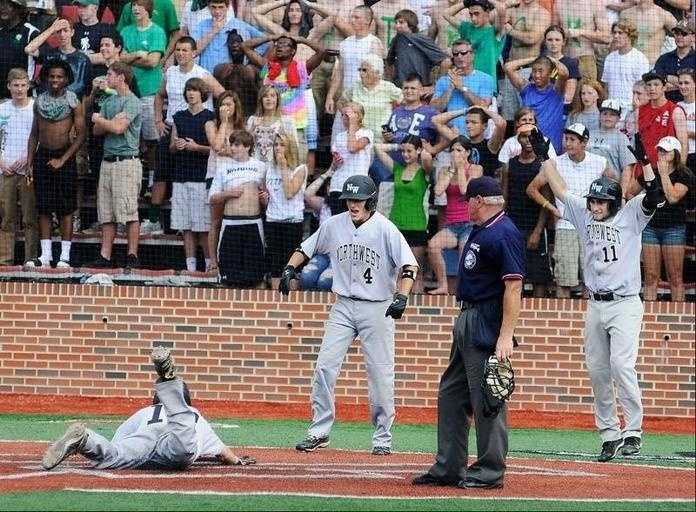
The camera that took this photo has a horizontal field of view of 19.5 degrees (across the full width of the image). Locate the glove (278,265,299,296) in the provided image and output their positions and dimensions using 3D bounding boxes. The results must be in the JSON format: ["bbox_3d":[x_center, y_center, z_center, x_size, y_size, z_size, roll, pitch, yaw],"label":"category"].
[{"bbox_3d":[-0.745,0.264,23.588,0.267,0.376,0.102,9,4,-27],"label":"glove"}]

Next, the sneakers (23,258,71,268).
[{"bbox_3d":[-3.885,0.122,26.002,0.570,0.191,0.216,3,-6,-3],"label":"sneakers"}]

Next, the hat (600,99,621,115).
[{"bbox_3d":[3.319,-1.881,25.613,0.256,0.211,0.299,1,-5,4],"label":"hat"}]

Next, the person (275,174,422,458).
[{"bbox_3d":[0.085,0.697,23.255,1.381,3.215,0.876,1,-5,5],"label":"person"}]

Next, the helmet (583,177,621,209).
[{"bbox_3d":[2.889,-0.714,23.089,0.365,0.305,0.280,-11,5,-43],"label":"helmet"}]

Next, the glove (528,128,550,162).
[{"bbox_3d":[2.195,-1.267,23.142,0.226,0.472,0.126,-12,-31,3],"label":"glove"}]

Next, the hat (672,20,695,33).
[{"bbox_3d":[4.340,-2.971,26.175,0.273,0.245,0.323,1,-5,7],"label":"hat"}]

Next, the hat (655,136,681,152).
[{"bbox_3d":[3.815,-1.326,24.029,0.172,0.139,0.265,1,0,34],"label":"hat"}]

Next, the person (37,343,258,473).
[{"bbox_3d":[-2.170,1.760,22.652,1.210,0.892,1.718,3,-11,5],"label":"person"}]

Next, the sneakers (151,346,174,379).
[{"bbox_3d":[-2.015,1.141,21.977,0.213,0.247,0.335,-20,-40,-9],"label":"sneakers"}]

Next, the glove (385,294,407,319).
[{"bbox_3d":[0.536,0.584,22.951,0.233,0.274,0.330,1,-5,0],"label":"glove"}]

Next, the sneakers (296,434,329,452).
[{"bbox_3d":[-0.425,2.194,23.416,0.413,0.210,0.159,-2,12,-17],"label":"sneakers"}]

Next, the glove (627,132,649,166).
[{"bbox_3d":[3.300,-1.212,23.080,0.226,0.406,0.305,2,-5,-5],"label":"glove"}]

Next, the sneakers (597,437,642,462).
[{"bbox_3d":[3.103,2.224,23.118,0.618,0.265,0.210,-5,-3,-37],"label":"sneakers"}]

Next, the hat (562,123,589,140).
[{"bbox_3d":[2.801,-1.506,24.489,0.261,0.151,0.178,20,-2,-25],"label":"hat"}]

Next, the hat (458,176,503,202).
[{"bbox_3d":[1.464,-0.733,22.071,0.320,0.180,0.237,7,11,24],"label":"hat"}]

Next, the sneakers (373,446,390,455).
[{"bbox_3d":[0.378,2.271,23.281,0.191,0.099,0.082,1,-6,-5],"label":"sneakers"}]

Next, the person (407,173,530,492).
[{"bbox_3d":[1.405,0.846,21.979,0.997,3.397,0.374,0,-5,12],"label":"person"}]

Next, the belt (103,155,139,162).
[{"bbox_3d":[-2.934,-1.253,26.074,0.447,0.119,0.097,2,-6,-12],"label":"belt"}]
